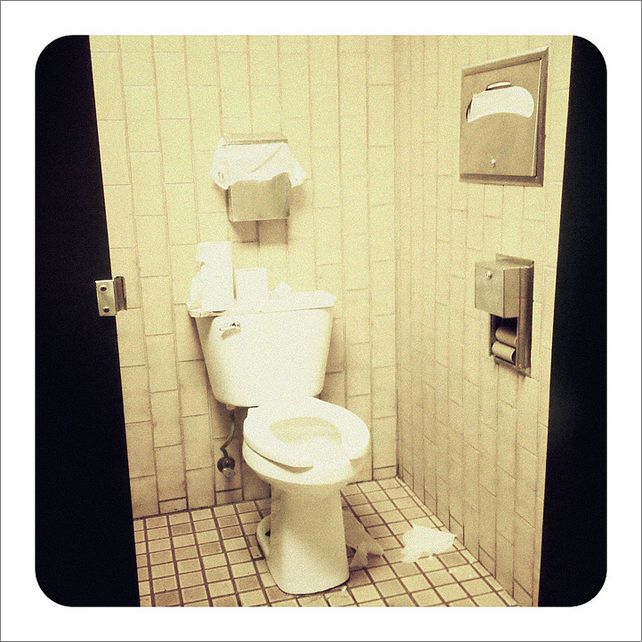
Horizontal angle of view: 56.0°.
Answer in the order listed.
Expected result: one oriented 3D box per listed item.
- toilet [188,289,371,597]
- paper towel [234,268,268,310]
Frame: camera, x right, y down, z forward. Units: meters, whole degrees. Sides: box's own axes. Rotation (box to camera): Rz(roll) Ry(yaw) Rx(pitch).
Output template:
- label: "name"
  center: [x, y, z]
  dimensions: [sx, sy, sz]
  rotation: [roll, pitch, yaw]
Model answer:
- label: "toilet"
  center: [-0.094, 0.351, 1.779]
  dimensions: [0.378, 0.761, 0.620]
  rotation: [-7, 14, -21]
- label: "paper towel"
  center: [-0.220, -0.107, 1.903]
  dimensions: [0.098, 0.138, 0.107]
  rotation: [-4, 10, -17]
